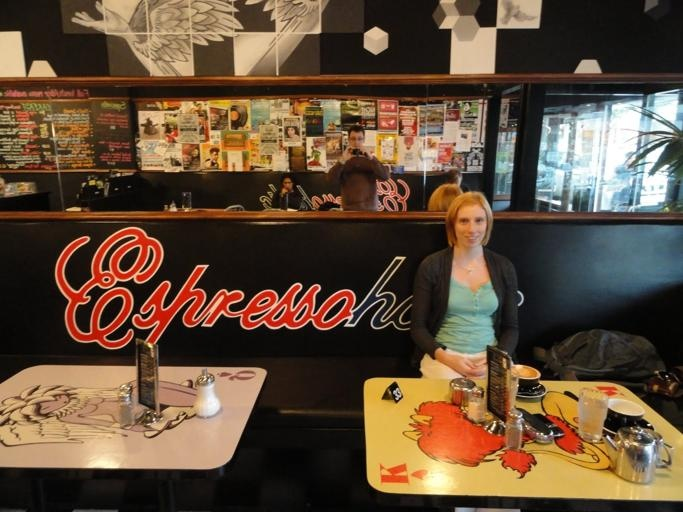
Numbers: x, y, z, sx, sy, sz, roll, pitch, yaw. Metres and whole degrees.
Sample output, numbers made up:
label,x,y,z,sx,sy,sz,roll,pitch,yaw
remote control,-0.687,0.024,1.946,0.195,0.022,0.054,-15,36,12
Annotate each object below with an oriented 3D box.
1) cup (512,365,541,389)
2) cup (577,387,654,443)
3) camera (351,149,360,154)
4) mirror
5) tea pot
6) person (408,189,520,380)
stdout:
label,x,y,z,sx,sy,sz,roll,pitch,yaw
cup,0.828,0.535,2.437,0.147,0.061,0.128,1,5,6
cup,1.098,0.631,2.202,0.193,0.161,0.262,-1,9,8
camera,0.098,-0.696,3.628,0.041,0.029,0.008,-3,7,3
mirror,0.153,-0.703,3.536,4.120,0.904,0.283,0,15,1
tea pot,1.107,0.728,2.035,0.273,0.147,0.152,8,0,2
person,0.672,0.157,3.076,0.580,0.977,0.654,9,17,32
